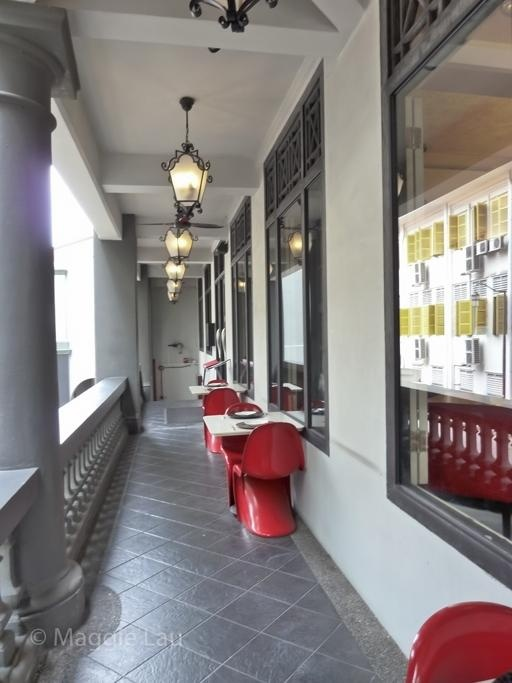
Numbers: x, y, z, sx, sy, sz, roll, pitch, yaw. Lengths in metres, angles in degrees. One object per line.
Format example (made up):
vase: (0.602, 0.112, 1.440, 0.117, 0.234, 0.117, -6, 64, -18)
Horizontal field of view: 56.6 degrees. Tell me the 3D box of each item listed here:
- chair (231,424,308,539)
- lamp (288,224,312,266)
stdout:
chair: (0.068, 0.918, 3.532, 0.528, 1.056, 0.708, -2, 7, -13)
lamp: (0.323, -0.771, 3.738, 0.229, 0.398, 0.271, -1, -5, 1)
